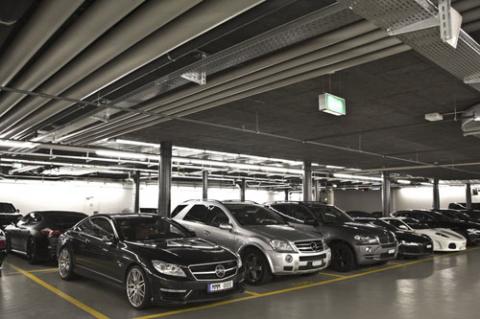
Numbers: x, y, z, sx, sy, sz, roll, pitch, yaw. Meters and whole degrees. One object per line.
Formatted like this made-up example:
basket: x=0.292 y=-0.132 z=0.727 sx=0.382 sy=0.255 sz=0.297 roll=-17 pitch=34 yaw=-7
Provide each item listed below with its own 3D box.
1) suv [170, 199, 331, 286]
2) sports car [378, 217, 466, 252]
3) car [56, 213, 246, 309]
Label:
suv: x=0.540 y=2.032 z=9.084 sx=4.495 sy=1.171 sz=1.999 roll=-3 pitch=-8 yaw=36
sports car: x=6.085 y=2.487 z=12.223 sx=0.969 sy=0.510 sz=1.741 roll=-13 pitch=22 yaw=5
car: x=-2.162 y=2.103 z=7.865 sx=4.234 sy=1.471 sz=1.639 roll=0 pitch=-2 yaw=36
